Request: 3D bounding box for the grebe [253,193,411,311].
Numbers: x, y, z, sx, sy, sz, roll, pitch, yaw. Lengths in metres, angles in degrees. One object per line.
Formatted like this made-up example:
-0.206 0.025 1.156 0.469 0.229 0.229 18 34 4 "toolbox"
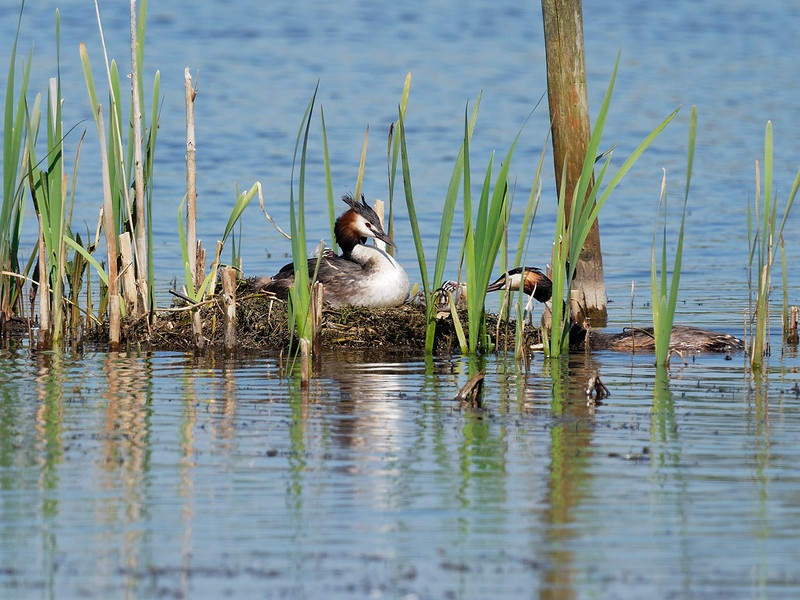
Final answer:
-0.819 -0.566 16.367 2.020 1.656 1.157 1 17 6 "grebe"
